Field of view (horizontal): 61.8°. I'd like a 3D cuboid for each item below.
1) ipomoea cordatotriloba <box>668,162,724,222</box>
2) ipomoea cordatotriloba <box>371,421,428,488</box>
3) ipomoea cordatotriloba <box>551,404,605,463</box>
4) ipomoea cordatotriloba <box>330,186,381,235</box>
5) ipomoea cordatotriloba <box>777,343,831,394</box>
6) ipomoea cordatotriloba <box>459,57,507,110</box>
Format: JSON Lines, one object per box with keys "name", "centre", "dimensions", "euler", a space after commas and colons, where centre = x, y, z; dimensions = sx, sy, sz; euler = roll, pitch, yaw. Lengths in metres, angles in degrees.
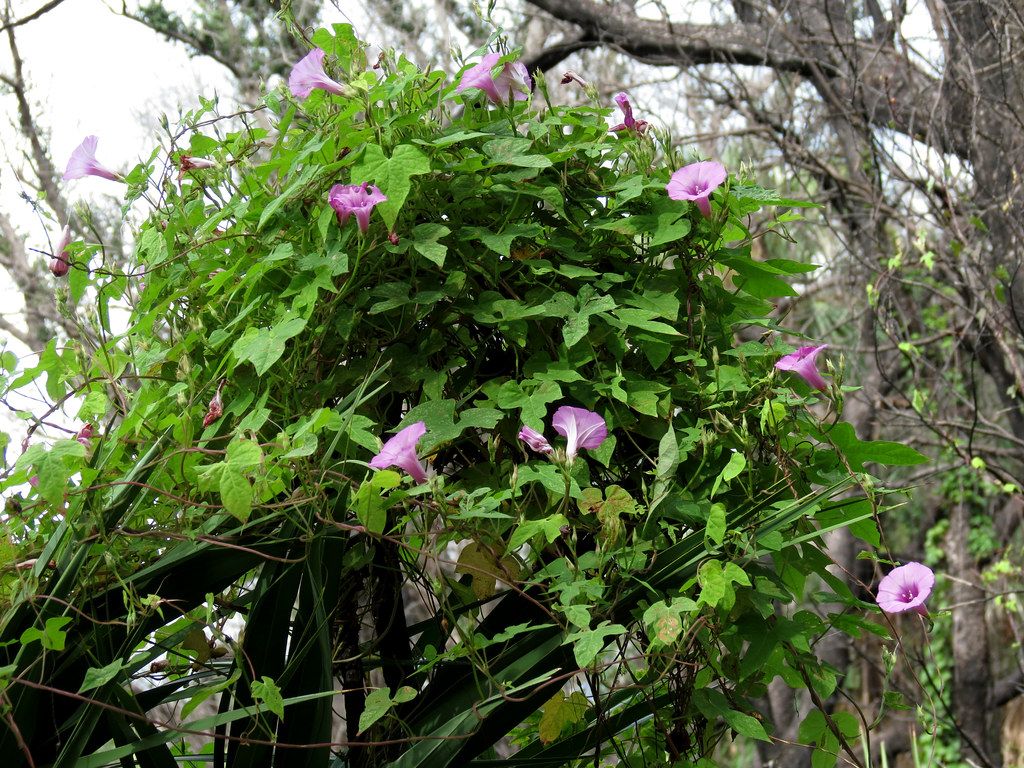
{"name": "ipomoea cordatotriloba", "centre": [0.342, -0.368, 1.593], "dimensions": [0.087, 0.085, 0.070], "euler": [-43, -31, -11]}
{"name": "ipomoea cordatotriloba", "centre": [-0.186, 0.124, 1.407], "dimensions": [0.081, 0.073, 0.098], "euler": [-1, -45, 1]}
{"name": "ipomoea cordatotriloba", "centre": [0.118, 0.099, 1.460], "dimensions": [0.102, 0.103, 0.067], "euler": [12, -45, -13]}
{"name": "ipomoea cordatotriloba", "centre": [-0.276, -0.326, 1.499], "dimensions": [0.053, 0.043, 0.069], "euler": [6, -17, -37]}
{"name": "ipomoea cordatotriloba", "centre": [0.539, -0.039, 1.583], "dimensions": [0.091, 0.048, 0.098], "euler": [0, -30, 9]}
{"name": "ipomoea cordatotriloba", "centre": [-0.062, -0.568, 1.600], "dimensions": [0.083, 0.068, 0.093], "euler": [-3, -45, 2]}
